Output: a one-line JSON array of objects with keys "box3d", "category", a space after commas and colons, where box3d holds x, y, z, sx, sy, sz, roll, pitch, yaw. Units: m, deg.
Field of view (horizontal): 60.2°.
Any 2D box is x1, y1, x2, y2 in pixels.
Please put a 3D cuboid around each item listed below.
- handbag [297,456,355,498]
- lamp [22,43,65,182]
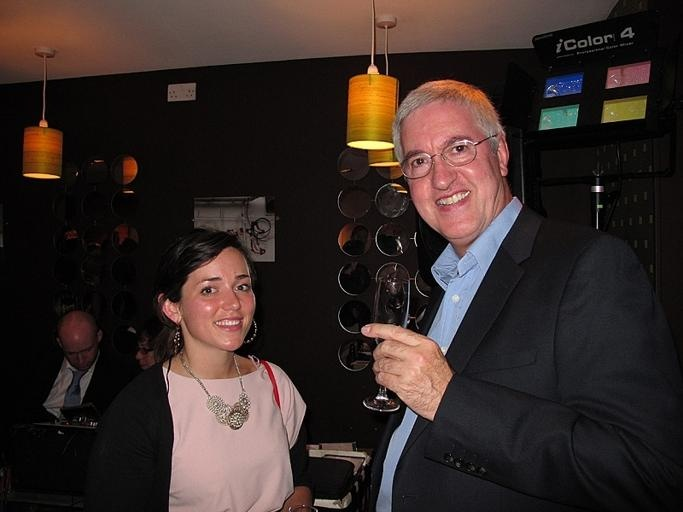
[{"box3d": [-0.072, 1.137, 3.045, 0.177, 0.046, 0.187, 3, 8, 18], "category": "handbag"}, {"box3d": [-2.722, -1.268, 5.357, 0.345, 1.110, 1.571, 0, 5, -28], "category": "lamp"}]
